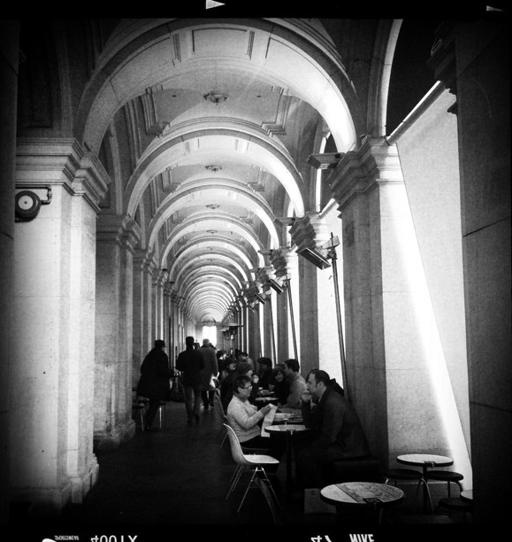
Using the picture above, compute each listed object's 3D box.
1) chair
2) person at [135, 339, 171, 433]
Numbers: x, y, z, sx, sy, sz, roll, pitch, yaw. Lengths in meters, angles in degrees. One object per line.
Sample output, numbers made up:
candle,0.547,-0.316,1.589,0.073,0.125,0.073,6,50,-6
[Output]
chair,-0.115,2.101,6.726,0.447,1.012,1.492,-5,-4,-3
person,-1.937,2.189,10.647,0.612,1.673,0.453,-8,-13,36
